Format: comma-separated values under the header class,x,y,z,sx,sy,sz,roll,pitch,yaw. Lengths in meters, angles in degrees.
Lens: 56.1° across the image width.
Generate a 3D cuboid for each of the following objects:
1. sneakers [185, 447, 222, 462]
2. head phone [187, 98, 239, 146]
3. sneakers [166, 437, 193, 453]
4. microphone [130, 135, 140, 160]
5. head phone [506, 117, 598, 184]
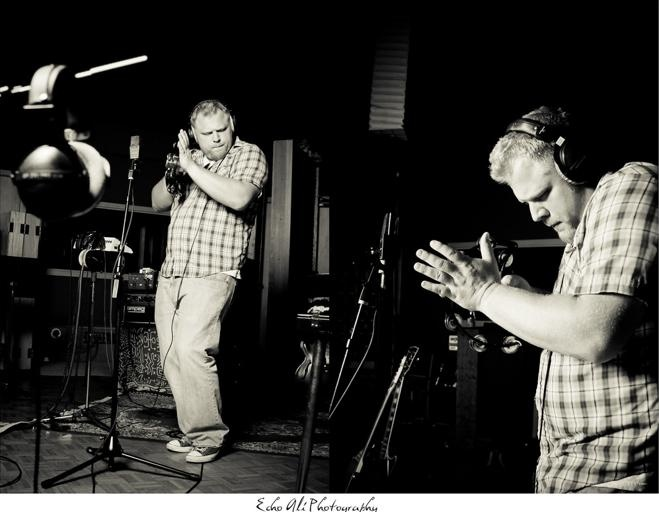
class,x,y,z,sx,sy,sz,roll,pitch,yaw
sneakers,-0.670,1.077,3.317,0.068,0.072,0.176,-7,-22,38
head phone,-0.649,-0.719,3.491,0.247,0.256,0.229,-14,-33,-7
sneakers,-0.846,1.085,3.518,0.174,0.078,0.078,9,-12,14
microphone,-0.985,-0.551,3.156,0.047,0.127,0.085,4,0,-20
head phone,0.693,-0.324,1.918,0.221,0.093,0.234,38,-3,-6
